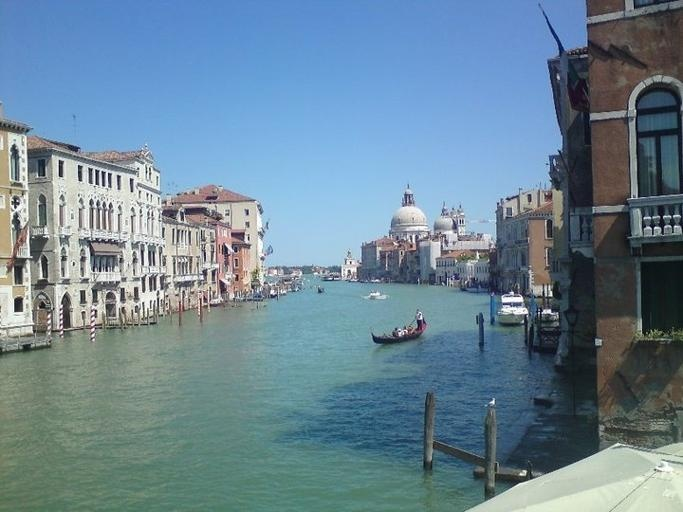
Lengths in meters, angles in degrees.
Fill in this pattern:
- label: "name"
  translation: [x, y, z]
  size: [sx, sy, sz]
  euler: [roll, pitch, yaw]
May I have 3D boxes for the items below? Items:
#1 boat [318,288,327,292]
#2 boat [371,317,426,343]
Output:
- label: "boat"
  translation: [-4.079, 6.576, 166.030]
  size: [1.104, 0.913, 1.180]
  euler: [0, -5, -2]
- label: "boat"
  translation: [4.143, 5.145, 57.583]
  size: [1.258, 1.660, 6.601]
  euler: [1, 2, 32]
